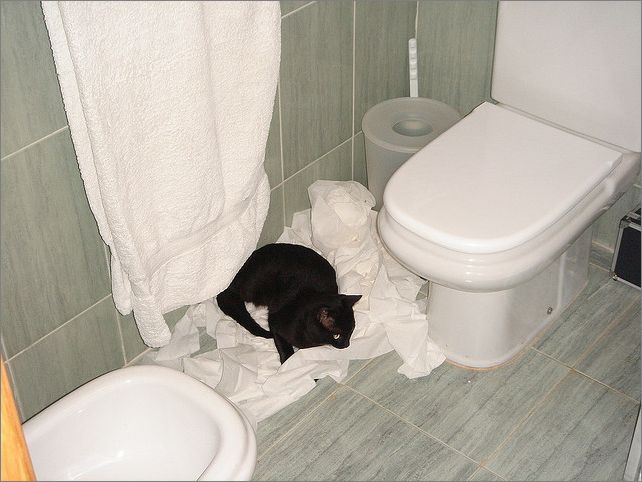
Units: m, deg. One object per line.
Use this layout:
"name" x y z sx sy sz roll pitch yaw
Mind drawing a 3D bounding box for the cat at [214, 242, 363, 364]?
"cat" -0.099 0.150 1.509 0.295 0.193 0.366 -24 66 -33
